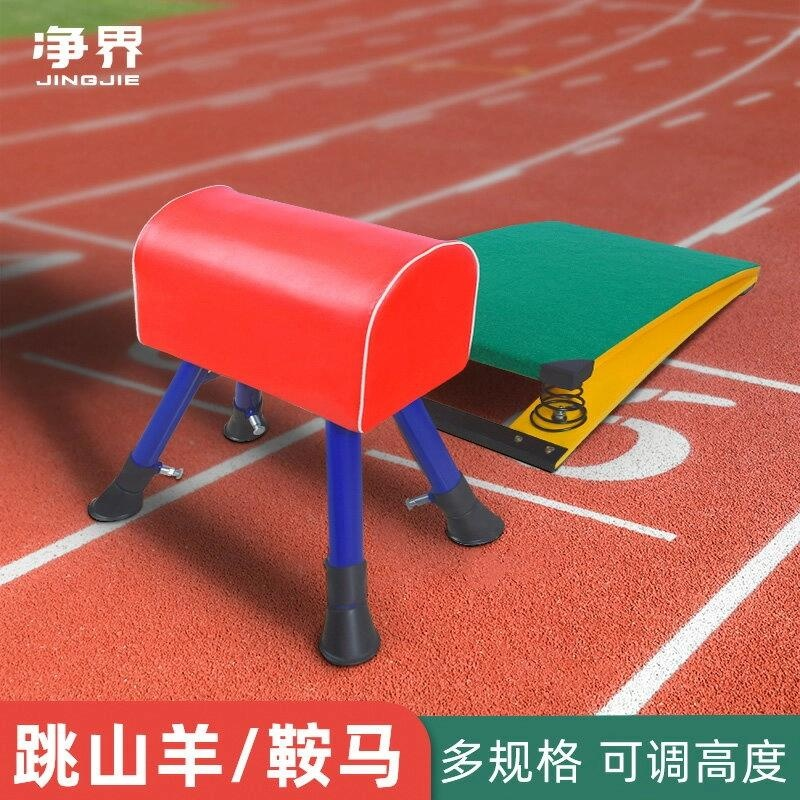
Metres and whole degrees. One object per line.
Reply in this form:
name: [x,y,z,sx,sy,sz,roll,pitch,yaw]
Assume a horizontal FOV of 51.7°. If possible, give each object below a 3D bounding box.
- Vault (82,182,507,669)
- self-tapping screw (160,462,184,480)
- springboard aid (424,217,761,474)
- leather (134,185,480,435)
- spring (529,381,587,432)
Vault: [-0.198,-0.019,2.370,1.027,0.941,1.311,-15,28,-34]
self-tapping screw: [-0.773,0.242,2.792,0.095,0.035,0.043,9,33,40]
springboard aid: [0.852,-0.234,3.640,1.054,0.351,1.641,21,37,36]
leather: [-0.145,-0.301,2.199,0.742,0.369,0.918,-21,34,-31]
spring: [0.593,0.012,3.132,0.247,0.122,0.193,0,22,5]
